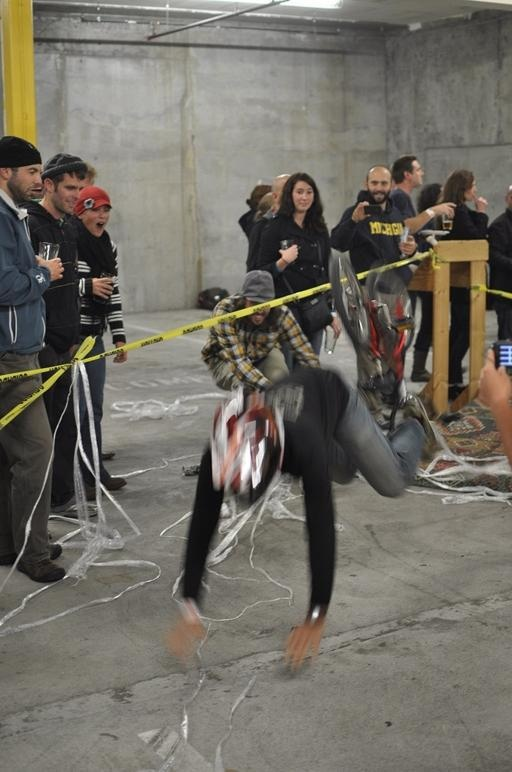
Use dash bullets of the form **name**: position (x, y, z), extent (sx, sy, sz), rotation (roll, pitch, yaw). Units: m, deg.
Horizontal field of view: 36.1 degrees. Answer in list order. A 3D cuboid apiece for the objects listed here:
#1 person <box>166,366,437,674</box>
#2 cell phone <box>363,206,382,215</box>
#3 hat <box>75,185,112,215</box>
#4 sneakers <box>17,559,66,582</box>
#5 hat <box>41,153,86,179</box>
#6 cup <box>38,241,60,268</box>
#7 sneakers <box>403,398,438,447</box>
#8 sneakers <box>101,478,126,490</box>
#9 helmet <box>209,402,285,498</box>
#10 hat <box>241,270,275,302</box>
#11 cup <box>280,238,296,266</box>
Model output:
- **person**: position (0.163, 0.407, 2.363), extent (0.410, 0.944, 1.064), rotation (5, 12, 24)
- **cell phone**: position (0.781, -1.187, 5.255), extent (0.134, 0.076, 0.028), rotation (-1, 13, -4)
- **hat**: position (-0.869, -0.991, 4.091), extent (0.213, 0.106, 0.144), rotation (-8, 0, 45)
- **sneakers**: position (-0.863, 0.727, 3.143), extent (0.209, 0.072, 0.078), rotation (2, 3, 28)
- **hat**: position (-0.865, -0.991, 3.481), extent (0.138, 0.073, 0.161), rotation (-19, 2, -22)
- **cup**: position (-0.850, -0.560, 3.300), extent (0.124, 0.119, 0.119), rotation (3, 4, 0)
- **sneakers**: position (0.697, 0.154, 3.336), extent (0.079, 0.240, 0.106), rotation (-35, -20, 13)
- **sneakers**: position (-0.783, 0.530, 4.335), extent (0.142, 0.057, 0.048), rotation (-8, 24, -15)
- **helmet**: position (-0.030, 0.142, 1.879), extent (0.170, 0.091, 0.229), rotation (-9, 50, -17)
- **hat**: position (0.016, -0.550, 4.351), extent (0.153, 0.101, 0.210), rotation (1, 9, -4)
- **cup**: position (0.201, -0.817, 4.770), extent (0.098, 0.131, 0.143), rotation (-1, -1, -5)
